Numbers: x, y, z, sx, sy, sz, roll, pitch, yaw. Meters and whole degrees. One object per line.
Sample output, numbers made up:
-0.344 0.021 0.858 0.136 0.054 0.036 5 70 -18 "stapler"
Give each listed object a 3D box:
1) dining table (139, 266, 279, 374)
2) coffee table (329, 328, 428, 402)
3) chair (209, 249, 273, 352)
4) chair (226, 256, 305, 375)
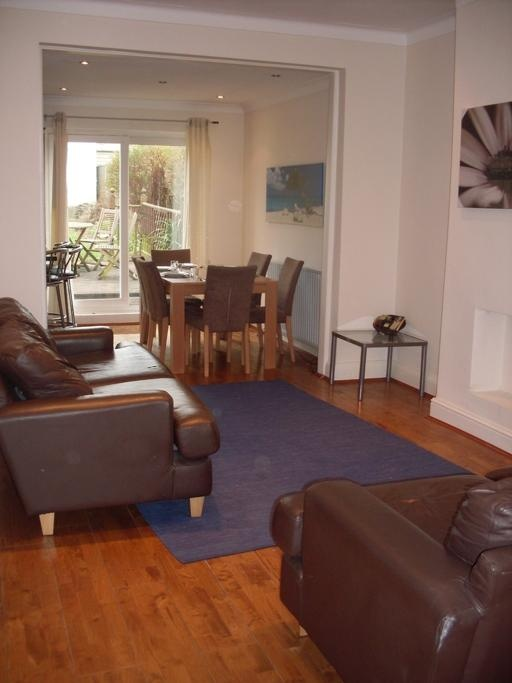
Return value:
-0.409 -0.219 5.576 0.947 0.934 1.339 -4 14 -19 "dining table"
1.088 0.245 4.714 0.674 0.486 0.659 -5 18 -20 "coffee table"
-0.240 -0.726 6.367 0.611 0.972 0.539 -3 9 -22 "chair"
0.119 -0.339 5.771 0.699 0.992 0.581 0 11 -3 "chair"
